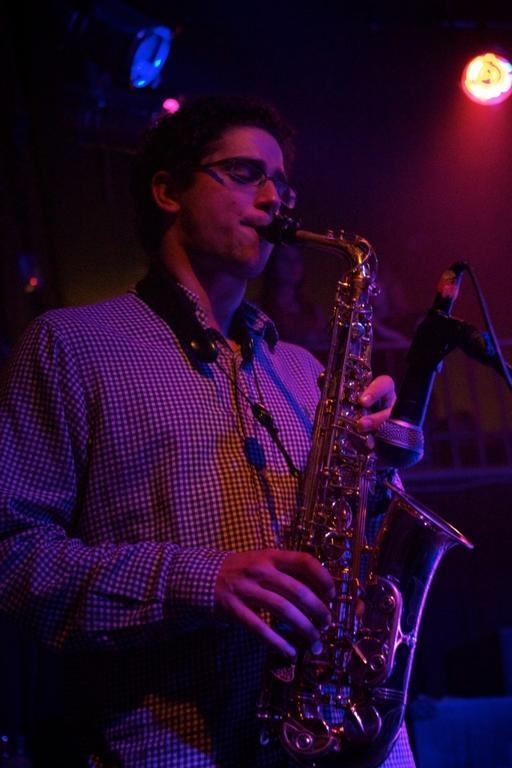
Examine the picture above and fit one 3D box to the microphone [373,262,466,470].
[{"bbox_3d":[0.382,-0.033,1.766,0.149,0.452,0.154,18,0,-13],"label":"microphone"}]
